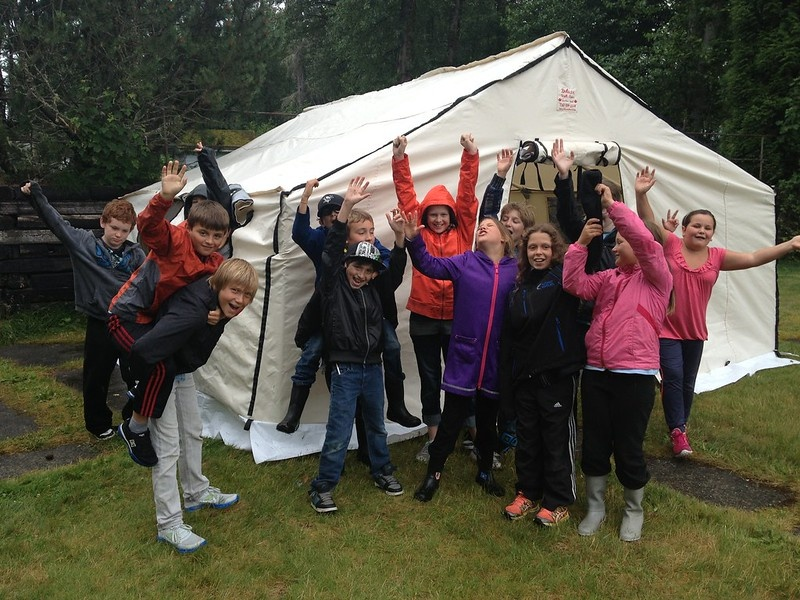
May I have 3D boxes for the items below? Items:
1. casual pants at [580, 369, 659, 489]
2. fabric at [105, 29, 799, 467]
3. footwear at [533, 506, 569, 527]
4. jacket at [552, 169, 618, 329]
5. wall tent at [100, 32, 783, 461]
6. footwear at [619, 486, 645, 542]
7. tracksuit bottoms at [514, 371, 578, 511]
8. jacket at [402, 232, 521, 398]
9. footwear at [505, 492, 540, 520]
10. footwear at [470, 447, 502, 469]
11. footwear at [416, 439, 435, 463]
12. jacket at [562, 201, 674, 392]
[{"bbox_3d":[1.598,0.914,5.143,0.494,1.146,0.354,2,20,18],"label":"casual pants"},{"bbox_3d":[0.639,-1.102,8.066,5.260,2.984,5.383,-5,8,-25],"label":"fabric"},{"bbox_3d":[1.150,1.641,5.207,0.264,0.124,0.111,4,-9,-23],"label":"footwear"},{"bbox_3d":[1.462,-0.427,5.291,0.364,1.168,0.358,-15,-32,23],"label":"jacket"},{"bbox_3d":[0.637,-1.156,8.102,5.163,2.959,5.299,-5,8,-24],"label":"wall tent"},{"bbox_3d":[1.729,1.573,5.094,0.133,0.375,0.385,1,21,25],"label":"footwear"},{"bbox_3d":[1.100,1.108,5.223,0.490,1.117,0.336,3,14,10],"label":"tracksuit bottoms"},{"bbox_3d":[0.663,0.101,5.507,1.292,1.316,0.337,2,18,-9],"label":"jacket"},{"bbox_3d":[0.953,1.598,5.329,0.120,0.143,0.286,-2,-4,45],"label":"footwear"},{"bbox_3d":[0.773,1.389,6.091,0.131,0.186,0.399,-1,1,-23],"label":"footwear"},{"bbox_3d":[0.220,1.355,6.084,0.103,0.134,0.327,7,-1,6],"label":"footwear"},{"bbox_3d":[1.628,-0.060,5.203,0.780,1.232,0.717,-6,-27,39],"label":"jacket"}]
